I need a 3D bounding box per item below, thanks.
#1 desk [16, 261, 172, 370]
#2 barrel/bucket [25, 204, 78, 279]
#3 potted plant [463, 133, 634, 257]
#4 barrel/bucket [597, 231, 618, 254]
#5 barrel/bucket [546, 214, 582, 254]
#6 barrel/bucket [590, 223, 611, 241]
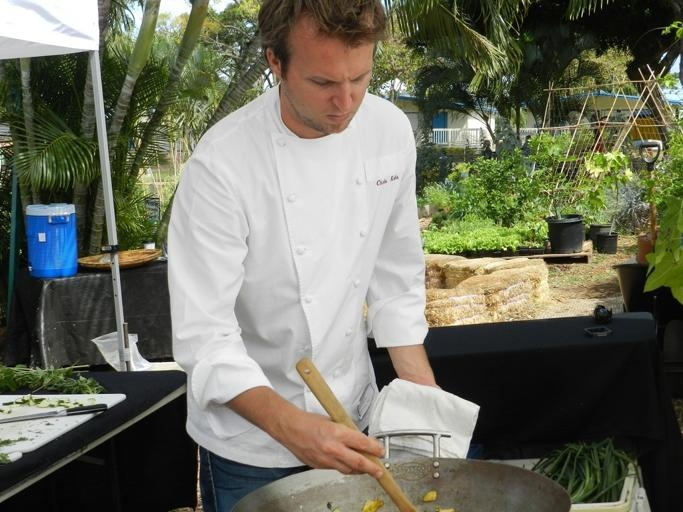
[{"bbox_3d":[-1.934,0.470,4.191,1.163,0.800,0.509,-4,4,-21],"label":"desk"},{"bbox_3d":[-2.100,-0.115,3.978,0.355,0.493,0.337,2,11,0],"label":"barrel/bucket"},{"bbox_3d":[2.613,-0.943,8.206,2.363,1.765,1.823,4,10,45],"label":"potted plant"},{"bbox_3d":[3.767,-0.203,7.804,0.279,0.295,0.292,-4,8,1],"label":"barrel/bucket"},{"bbox_3d":[3.290,-0.343,8.044,0.565,0.536,0.573,-7,13,2],"label":"barrel/bucket"},{"bbox_3d":[3.773,-0.350,8.014,0.248,0.183,0.247,-1,5,0],"label":"barrel/bucket"}]
